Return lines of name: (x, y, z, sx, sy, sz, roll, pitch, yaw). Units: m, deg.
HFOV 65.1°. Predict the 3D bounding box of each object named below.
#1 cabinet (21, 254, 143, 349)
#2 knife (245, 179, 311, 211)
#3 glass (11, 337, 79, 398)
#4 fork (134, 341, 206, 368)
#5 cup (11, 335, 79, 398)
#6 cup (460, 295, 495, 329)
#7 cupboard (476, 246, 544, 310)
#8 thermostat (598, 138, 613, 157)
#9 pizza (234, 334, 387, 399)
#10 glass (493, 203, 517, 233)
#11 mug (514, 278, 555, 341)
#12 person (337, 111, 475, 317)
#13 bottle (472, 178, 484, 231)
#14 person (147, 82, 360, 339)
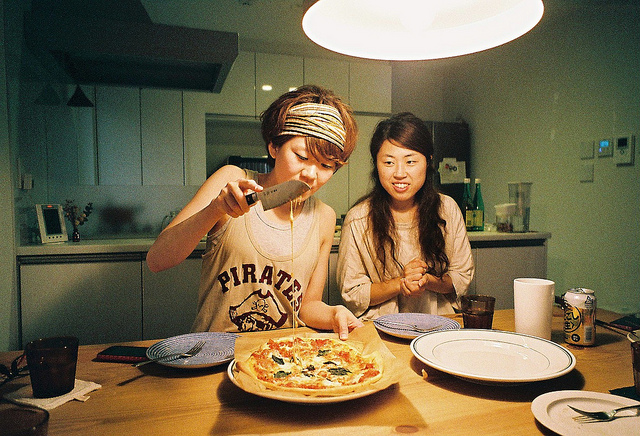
cabinet: (-1.653, 0.528, 3.415, 0.834, 0.698, 0.494, 0, 4, -39)
knife: (-0.179, -0.101, 2.103, 0.267, 0.116, 0.070, -2, 2, 4)
glass: (-0.986, 0.544, 1.838, 0.210, 0.210, 0.223, 2, 1, -23)
fork: (-0.590, 0.544, 1.993, 0.233, 0.034, 0.031, -12, 24, -31)
cup: (-1.027, 0.522, 1.910, 0.225, 0.230, 0.240, 2, 1, 0)
cup: (0.685, 0.397, 2.204, 0.143, 0.159, 0.140, -2, 0, 0)
cupboard: (1.491, 0.394, 4.209, 0.548, 0.604, 0.438, 0, 6, -19)
thermostat: (2.253, -0.559, 3.922, 0.023, 0.161, 0.168, 2, -1, -14)
pizza: (-0.048, 0.560, 1.927, 0.556, 0.141, 0.365, -2, 1, -12)
glass: (1.583, -0.013, 4.292, 0.244, 0.286, 0.221, 0, 5, 14)
mug: (0.896, 0.371, 2.083, 0.208, 0.250, 0.175, 2, -3, -34)
person: (0.512, 0.164, 3.001, 0.865, 1.442, 0.742, -4, 10, -4)
bottle: (1.383, -0.121, 4.344, 0.087, 0.453, 0.517, -1, 1, 17)
person: (-0.291, -0.043, 2.390, 0.939, 1.206, 0.619, -2, 2, 5)
